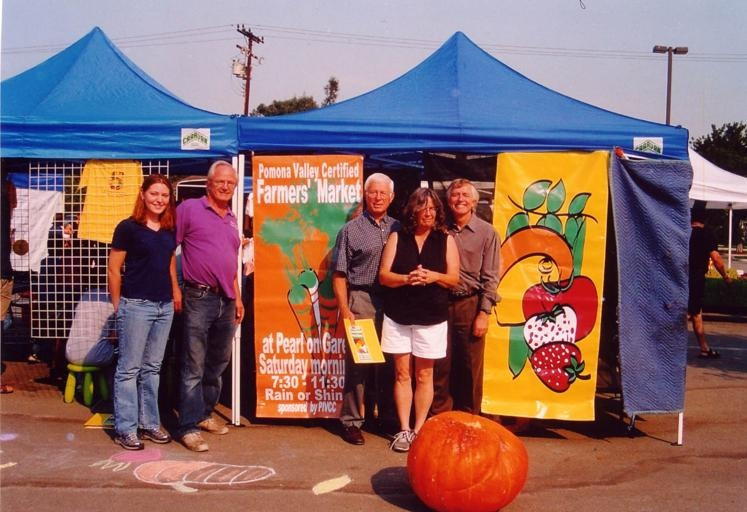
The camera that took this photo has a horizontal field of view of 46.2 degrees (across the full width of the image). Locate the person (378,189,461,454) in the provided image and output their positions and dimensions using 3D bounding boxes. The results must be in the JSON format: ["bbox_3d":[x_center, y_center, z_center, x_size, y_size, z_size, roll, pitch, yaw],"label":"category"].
[{"bbox_3d":[0.519,0.678,9.513,0.874,2.722,0.873,0,-1,6],"label":"person"}]

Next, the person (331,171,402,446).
[{"bbox_3d":[-0.113,0.544,9.426,0.801,2.748,0.837,1,-3,-9],"label":"person"}]

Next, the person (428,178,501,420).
[{"bbox_3d":[1.020,0.463,9.756,0.726,2.590,0.762,0,-2,2],"label":"person"}]

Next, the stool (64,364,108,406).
[{"bbox_3d":[-3.379,1.481,10.563,0.464,0.558,0.509,-1,1,14],"label":"stool"}]

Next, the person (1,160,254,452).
[{"bbox_3d":[-2.114,0.510,9.221,1.254,2.929,0.498,-4,12,-20],"label":"person"}]
